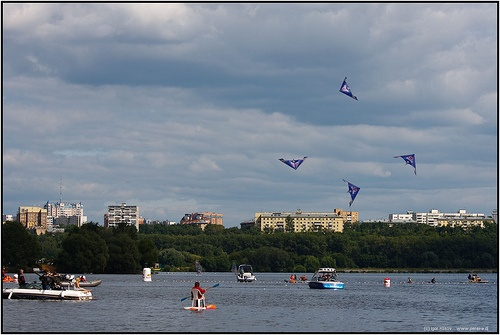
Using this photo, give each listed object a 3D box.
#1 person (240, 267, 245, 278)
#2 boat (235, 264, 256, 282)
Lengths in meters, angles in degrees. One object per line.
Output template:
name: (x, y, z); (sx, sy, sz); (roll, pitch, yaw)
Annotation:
person: (-1.645, 23.133, 241.808); (0.749, 2.129, 1.463); (1, -9, 0)
boat: (-0.789, 23.420, 243.493); (3.724, 3.619, 5.040); (1, -8, -1)
